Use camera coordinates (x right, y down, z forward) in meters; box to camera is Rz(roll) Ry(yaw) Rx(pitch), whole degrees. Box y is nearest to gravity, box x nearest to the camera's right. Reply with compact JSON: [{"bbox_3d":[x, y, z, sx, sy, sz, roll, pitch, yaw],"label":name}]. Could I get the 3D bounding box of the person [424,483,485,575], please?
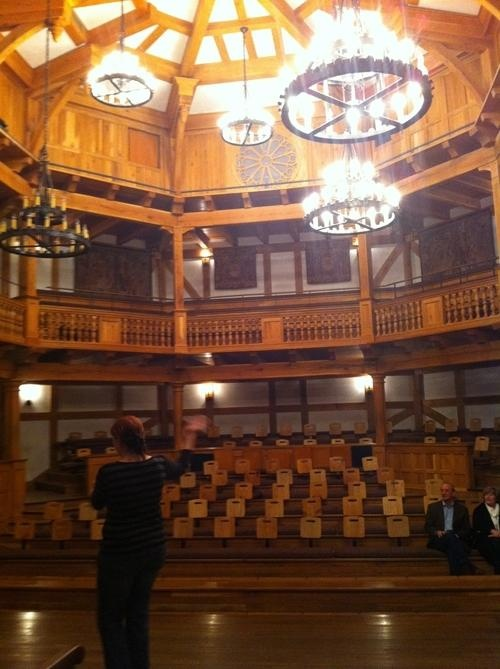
[{"bbox_3d":[2.438,2.386,8.826,0.647,1.009,1.324,2,32,15],"label":"person"}]
